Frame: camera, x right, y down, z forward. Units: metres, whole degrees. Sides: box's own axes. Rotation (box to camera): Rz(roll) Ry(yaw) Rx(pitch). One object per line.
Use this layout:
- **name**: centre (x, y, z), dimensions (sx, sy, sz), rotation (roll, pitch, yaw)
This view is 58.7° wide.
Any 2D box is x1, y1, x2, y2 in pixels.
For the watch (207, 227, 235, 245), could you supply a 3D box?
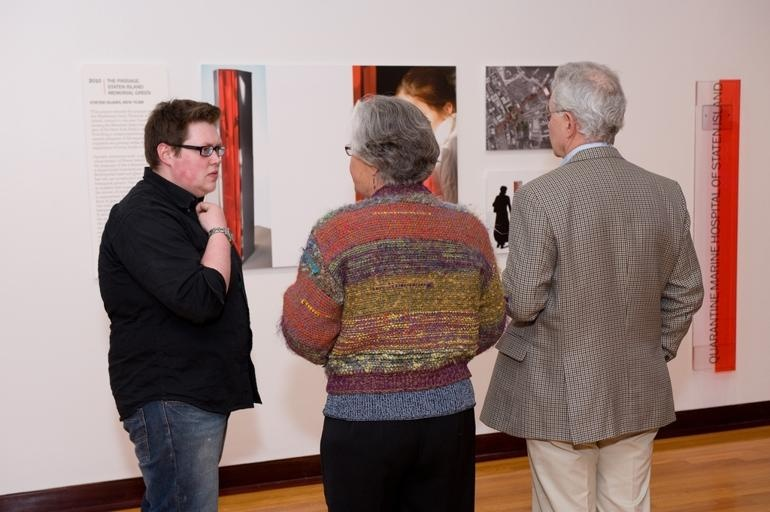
- **watch**: centre (-0.848, -0.121, 3.539), dimensions (0.111, 0.068, 0.112), rotation (8, -1, 21)
